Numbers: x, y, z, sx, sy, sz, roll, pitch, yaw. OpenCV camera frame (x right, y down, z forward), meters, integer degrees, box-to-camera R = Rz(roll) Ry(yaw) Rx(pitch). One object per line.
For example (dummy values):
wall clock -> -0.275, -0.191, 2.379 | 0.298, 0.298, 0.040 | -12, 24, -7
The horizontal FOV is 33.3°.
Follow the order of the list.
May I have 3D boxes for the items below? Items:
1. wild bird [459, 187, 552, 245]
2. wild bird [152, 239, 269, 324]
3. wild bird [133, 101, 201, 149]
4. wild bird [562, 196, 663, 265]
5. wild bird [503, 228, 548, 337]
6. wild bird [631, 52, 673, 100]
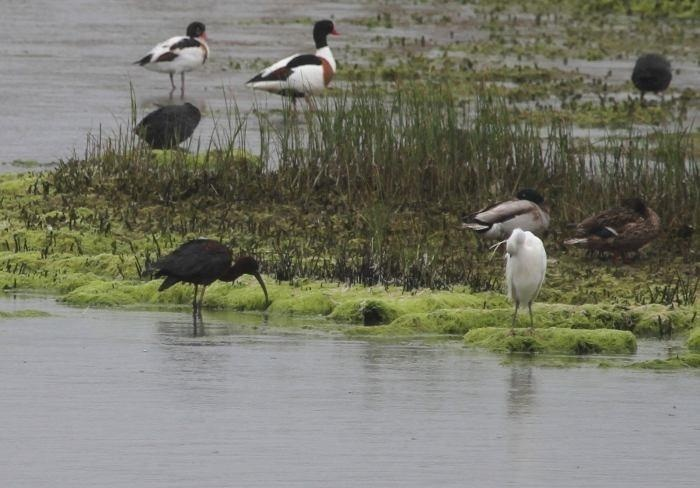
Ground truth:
wild bird -> 2.468, -0.327, 17.504 | 1.380, 0.843, 0.737 | -2, -16, 17
wild bird -> -1.890, 0.516, 15.907 | 1.707, 1.064, 0.636 | 3, -3, -26
wild bird -> -3.379, -2.108, 22.081 | 1.292, 0.466, 1.469 | -10, -21, -4
wild bird -> 3.802, -0.232, 17.188 | 1.368, 0.923, 0.765 | 1, 2, -5
wild bird -> 2.190, 0.477, 14.578 | 0.466, 1.292, 0.331 | 0, 0, 8
wild bird -> 7.165, -3.967, 27.851 | 0.731, 1.312, 0.816 | 2, -31, 13
